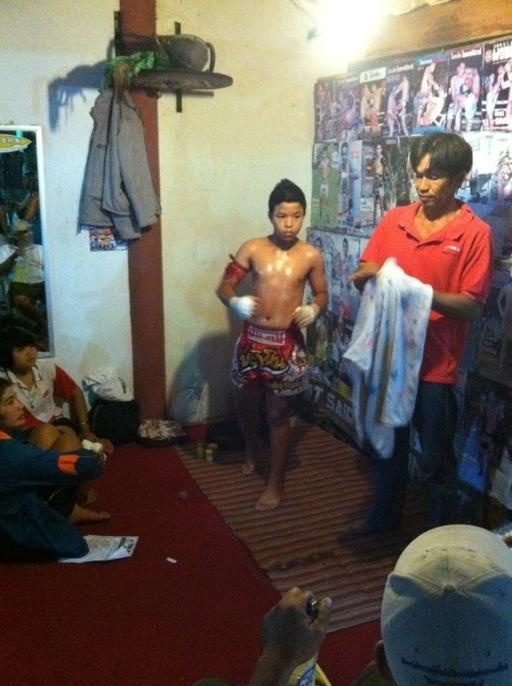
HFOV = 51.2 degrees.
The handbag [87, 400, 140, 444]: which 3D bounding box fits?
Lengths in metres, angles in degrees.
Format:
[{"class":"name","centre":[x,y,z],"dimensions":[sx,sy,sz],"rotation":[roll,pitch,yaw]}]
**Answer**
[{"class":"handbag","centre":[-0.685,0.378,2.559],"dimensions":[0.178,0.249,0.129],"rotation":[-7,0,-2]}]

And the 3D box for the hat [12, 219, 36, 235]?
[{"class":"hat","centre":[-1.007,-0.501,2.320],"dimensions":[0.071,0.073,0.061],"rotation":[10,6,10]}]

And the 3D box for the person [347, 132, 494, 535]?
[{"class":"person","centre":[0.437,0.047,1.498],"dimensions":[0.367,1.173,0.254],"rotation":[-2,13,11]}]
